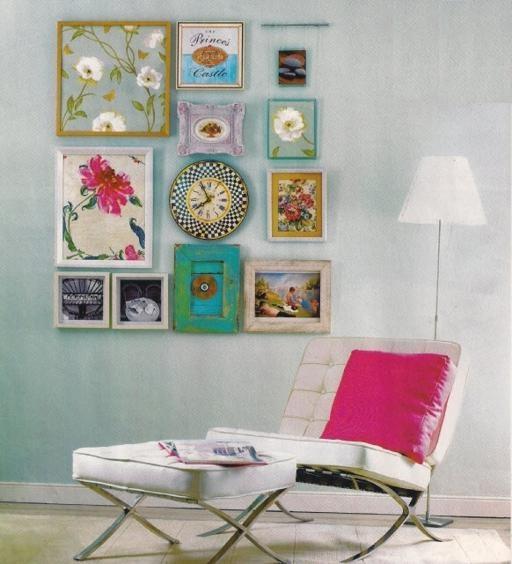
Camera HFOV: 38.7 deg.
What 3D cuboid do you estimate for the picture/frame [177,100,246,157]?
[{"bbox_3d":[-0.210,-0.727,3.482,0.371,0.244,0.028,7,15,27],"label":"picture/frame"}]

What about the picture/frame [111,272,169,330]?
[{"bbox_3d":[-0.545,0.102,3.489,0.341,0.274,0.024,0,-2,2],"label":"picture/frame"}]

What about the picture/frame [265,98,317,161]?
[{"bbox_3d":[0.180,-0.725,3.464,0.373,0.350,0.030,0,4,4],"label":"picture/frame"}]

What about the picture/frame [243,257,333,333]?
[{"bbox_3d":[0.165,0.073,3.446,0.445,0.306,0.028,1,-2,2],"label":"picture/frame"}]

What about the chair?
[{"bbox_3d":[0.368,0.632,3.097,0.980,0.799,0.969,-4,-7,39],"label":"chair"}]

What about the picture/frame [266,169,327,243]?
[{"bbox_3d":[0.207,-0.352,3.464,0.437,0.421,0.032,0,-1,-1],"label":"picture/frame"}]

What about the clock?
[{"bbox_3d":[-0.225,-0.373,3.485,0.443,0.356,0.100,1,1,5],"label":"clock"}]

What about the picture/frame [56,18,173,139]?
[{"bbox_3d":[-0.670,-0.982,3.521,0.667,0.556,0.024,-14,29,-39],"label":"picture/frame"}]

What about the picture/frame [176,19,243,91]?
[{"bbox_3d":[-0.210,-1.094,3.493,0.418,0.334,0.015,1,1,0],"label":"picture/frame"}]

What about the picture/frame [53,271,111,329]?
[{"bbox_3d":[-0.831,0.097,3.498,0.338,0.283,0.024,1,-1,-2],"label":"picture/frame"}]
